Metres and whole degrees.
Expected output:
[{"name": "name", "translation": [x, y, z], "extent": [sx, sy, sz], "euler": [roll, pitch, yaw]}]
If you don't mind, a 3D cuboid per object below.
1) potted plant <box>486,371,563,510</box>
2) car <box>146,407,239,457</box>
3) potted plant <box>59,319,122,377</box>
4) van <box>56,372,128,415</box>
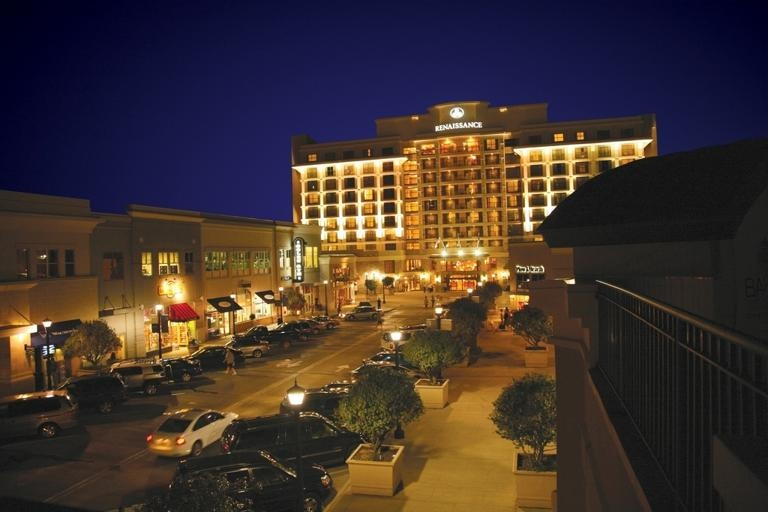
[{"name": "potted plant", "translation": [4.554, 5.834, 20.181], "extent": [1.897, 3.905, 2.738], "euler": [-1, 4, 13]}, {"name": "car", "translation": [-7.546, 7.024, 24.798], "extent": [2.287, 1.440, 4.407], "euler": [-1, -1, 18]}, {"name": "potted plant", "translation": [-16.342, 5.174, 34.956], "extent": [2.671, 2.940, 1.483], "euler": [-5, 5, -37]}, {"name": "van", "translation": [-13.856, 6.652, 29.924], "extent": [4.188, 1.891, 2.210], "euler": [2, -7, 0]}]
